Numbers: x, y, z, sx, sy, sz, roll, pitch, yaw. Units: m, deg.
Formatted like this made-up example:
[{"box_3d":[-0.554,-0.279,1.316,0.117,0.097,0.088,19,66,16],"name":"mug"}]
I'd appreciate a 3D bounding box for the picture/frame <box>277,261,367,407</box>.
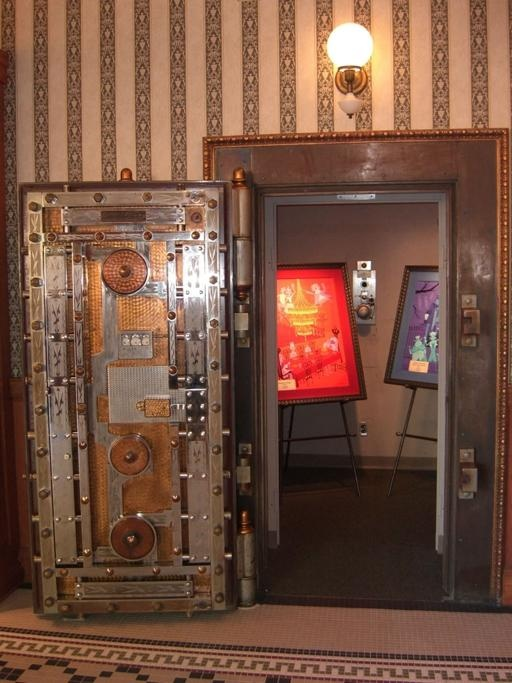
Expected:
[{"box_3d":[0.470,-0.072,5.376,0.645,1.004,0.453,-1,4,-5],"name":"picture/frame"}]
